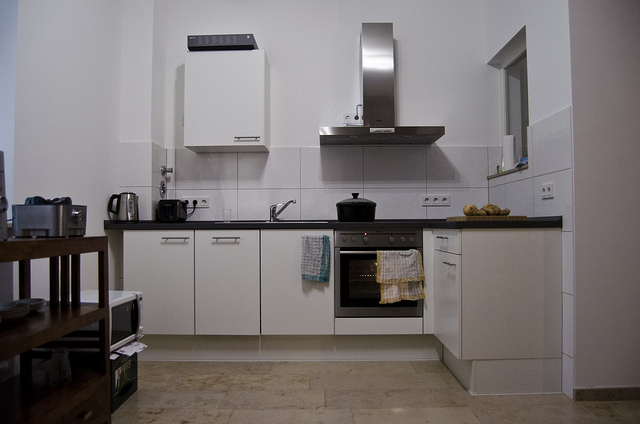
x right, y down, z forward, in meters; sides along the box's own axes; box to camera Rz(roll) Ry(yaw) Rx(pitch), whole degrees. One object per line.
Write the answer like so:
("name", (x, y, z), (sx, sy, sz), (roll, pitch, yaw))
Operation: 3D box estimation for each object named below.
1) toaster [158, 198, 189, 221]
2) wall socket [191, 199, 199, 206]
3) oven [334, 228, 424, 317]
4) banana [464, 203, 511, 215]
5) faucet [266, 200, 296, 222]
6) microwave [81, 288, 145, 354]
("toaster", (-1.340, -0.025, 4.785), (0.202, 0.153, 0.202), (1, 2, 1))
("wall socket", (-1.200, -0.089, 4.996), (0.073, 0.061, 0.027), (1, -1, -8))
("oven", (0.476, 0.520, 4.717), (0.627, 0.802, 0.655), (0, -2, 0))
("banana", (1.323, -0.019, 4.145), (0.329, 0.084, 0.113), (0, -1, 9))
("faucet", (-0.344, -0.012, 4.906), (0.281, 0.207, 0.179), (1, -1, -24))
("microwave", (-1.528, 0.780, 3.902), (0.402, 0.386, 0.585), (0, -2, -3))
